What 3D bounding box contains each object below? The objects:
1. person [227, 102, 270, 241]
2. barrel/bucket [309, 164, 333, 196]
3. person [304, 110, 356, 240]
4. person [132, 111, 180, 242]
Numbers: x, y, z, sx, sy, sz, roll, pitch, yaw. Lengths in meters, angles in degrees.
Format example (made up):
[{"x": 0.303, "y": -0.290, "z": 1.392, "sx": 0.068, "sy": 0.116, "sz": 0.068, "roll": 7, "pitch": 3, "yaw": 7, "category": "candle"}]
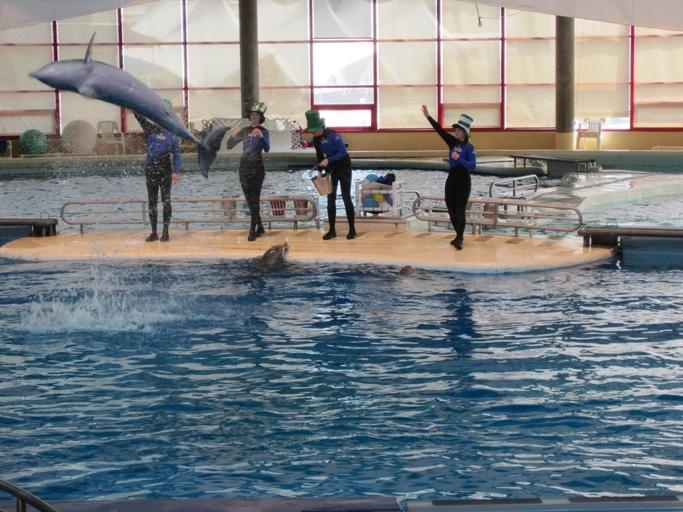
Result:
[{"x": -1.075, "y": -1.071, "z": 10.421, "sx": 0.767, "sy": 1.542, "sz": 0.701, "roll": 0, "pitch": 3, "yaw": 0, "category": "person"}, {"x": -0.235, "y": -0.911, "z": 10.260, "sx": 0.239, "sy": 0.326, "sz": 0.254, "roll": -1, "pitch": 4, "yaw": 0, "category": "barrel/bucket"}, {"x": -0.138, "y": -1.029, "z": 10.524, "sx": 0.587, "sy": 1.639, "sz": 0.819, "roll": -2, "pitch": 4, "yaw": 1, "category": "person"}, {"x": -2.156, "y": -1.008, "z": 10.350, "sx": 0.669, "sy": 1.634, "sz": 0.487, "roll": 11, "pitch": 24, "yaw": 18, "category": "person"}]
